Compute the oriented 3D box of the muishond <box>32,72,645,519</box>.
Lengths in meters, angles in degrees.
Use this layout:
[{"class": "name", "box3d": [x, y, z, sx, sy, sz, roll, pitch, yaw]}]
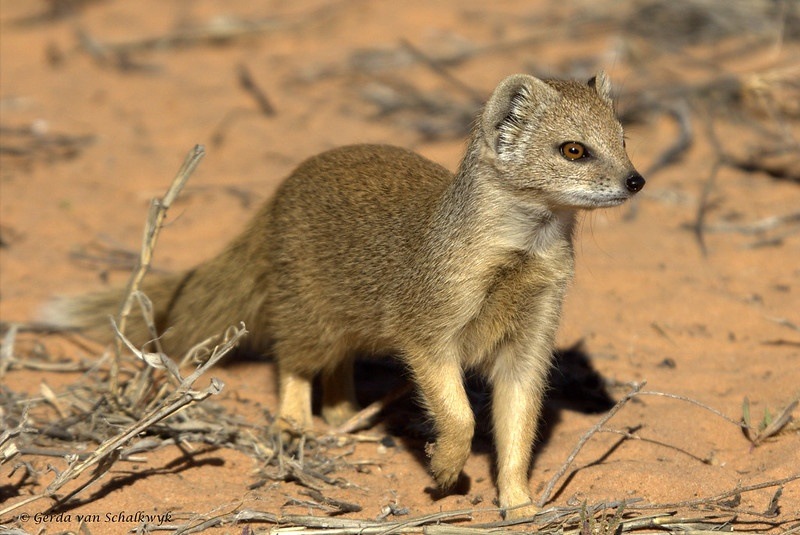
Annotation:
[{"class": "muishond", "box3d": [0.078, -0.023, 6.063, 2.750, 2.551, 1.384, 23, 39, 14]}]
